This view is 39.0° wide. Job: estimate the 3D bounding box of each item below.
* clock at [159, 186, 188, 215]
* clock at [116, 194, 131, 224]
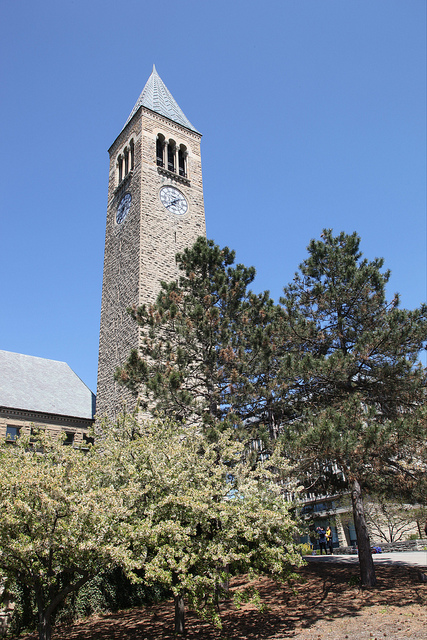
[{"bbox_3d":[-2.353,-6.907,35.142,2.066,2.068,0.257,12,-41,-33],"label":"clock"},{"bbox_3d":[-5.260,-6.536,35.817,0.183,1.754,1.778,10,-48,-22],"label":"clock"}]
